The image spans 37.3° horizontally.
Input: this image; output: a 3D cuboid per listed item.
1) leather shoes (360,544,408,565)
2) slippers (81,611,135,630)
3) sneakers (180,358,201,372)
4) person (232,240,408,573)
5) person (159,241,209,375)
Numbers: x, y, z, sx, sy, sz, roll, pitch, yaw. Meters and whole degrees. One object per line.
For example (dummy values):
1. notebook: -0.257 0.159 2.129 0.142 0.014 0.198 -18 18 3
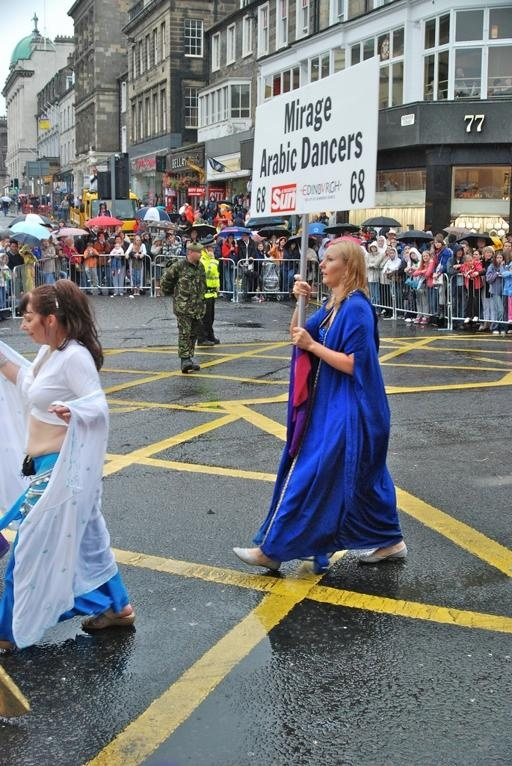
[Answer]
1. leather shoes: 0.691 0.908 4.022 0.289 0.106 0.101 -1 0 -7
2. slippers: -0.621 1.014 3.246 0.240 0.088 0.084 1 8 -8
3. sneakers: -0.893 -0.273 10.684 0.329 0.217 0.128 -14 22 -30
4. person: 0.353 0.143 3.766 0.840 1.700 0.466 0 8 3
5. person: -1.029 -1.108 10.889 0.615 1.792 1.034 -1 8 -4
